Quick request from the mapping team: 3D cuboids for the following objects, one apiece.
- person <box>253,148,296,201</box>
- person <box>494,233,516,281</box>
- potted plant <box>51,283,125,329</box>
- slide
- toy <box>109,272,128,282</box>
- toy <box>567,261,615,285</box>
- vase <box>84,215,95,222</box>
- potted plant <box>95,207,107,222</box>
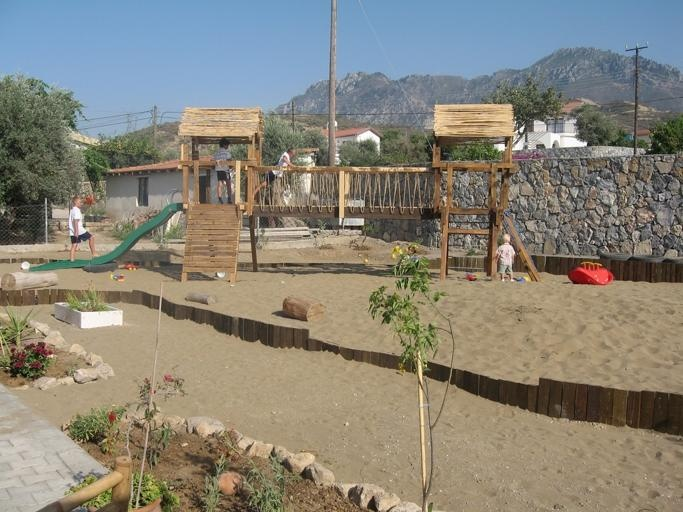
[{"bbox_3d":[-1.894,-2.267,19.623,1.094,1.519,2.644,-1,7,-6],"label":"person"},{"bbox_3d":[4.154,-0.019,17.654,0.469,1.158,2.103,1,7,14],"label":"person"},{"bbox_3d":[-5.068,1.044,13.828,1.410,0.642,0.814,3,8,30],"label":"potted plant"},{"bbox_3d":[-6.742,-0.641,19.918,4.270,1.949,1.606,-1,6,-9],"label":"slide"},{"bbox_3d":[-5.848,0.544,18.073,0.316,0.152,0.317,3,6,7],"label":"toy"},{"bbox_3d":[5.979,0.436,16.382,0.893,0.551,0.662,-2,8,-26],"label":"toy"},{"bbox_3d":[-13.563,-2.027,37.388,0.427,0.457,0.436,2,-2,-38],"label":"vase"},{"bbox_3d":[-13.403,-2.303,38.663,0.877,0.563,0.973,-1,15,-7],"label":"potted plant"}]
